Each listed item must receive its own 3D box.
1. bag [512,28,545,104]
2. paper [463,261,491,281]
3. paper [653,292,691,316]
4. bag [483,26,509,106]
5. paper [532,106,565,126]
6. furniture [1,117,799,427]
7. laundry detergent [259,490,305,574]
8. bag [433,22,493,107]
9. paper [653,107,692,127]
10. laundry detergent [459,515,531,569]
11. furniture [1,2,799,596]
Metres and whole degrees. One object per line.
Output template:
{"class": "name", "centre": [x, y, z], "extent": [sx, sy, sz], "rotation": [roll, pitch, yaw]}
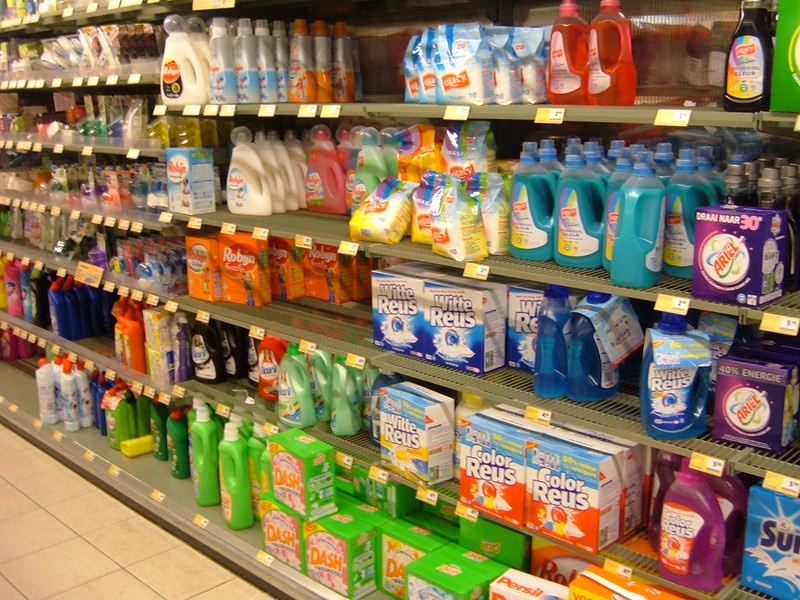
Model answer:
{"class": "bag", "centre": [0.509, -0.925, 2.292], "extent": [0.138, 0.286, 0.079], "rotation": [1, 15, 11]}
{"class": "paper", "centre": [0.310, -0.117, 2.322], "extent": [0.121, 0.062, 0.080], "rotation": [6, 9, 27]}
{"class": "paper", "centre": [0.868, 0.022, 1.848], "extent": [0.097, 0.076, 0.103], "rotation": [4, 17, 23]}
{"class": "bag", "centre": [0.377, -0.935, 2.300], "extent": [0.097, 0.297, 0.094], "rotation": [2, 16, 16]}
{"class": "paper", "centre": [0.525, -0.651, 2.026], "extent": [0.100, 0.051, 0.062], "rotation": [3, 16, 17]}
{"class": "furniture", "centre": [-0.079, -0.143, 2.746], "extent": [2.451, 0.486, 0.353], "rotation": [25, 27, 27]}
{"class": "laundry detergent", "centre": [-0.539, 1.170, 2.962], "extent": [0.344, 0.327, 0.189], "rotation": [-4, 1, 42]}
{"class": "bag", "centre": [0.239, -0.947, 2.330], "extent": [0.262, 0.321, 0.111], "rotation": [10, 20, 37]}
{"class": "paper", "centre": [0.829, -0.557, 1.759], "extent": [0.101, 0.047, 0.063], "rotation": [4, 17, 21]}
{"class": "laundry detergent", "centre": [0.433, 1.035, 2.579], "extent": [0.333, 0.151, 0.173], "rotation": [2, 7, 38]}
{"class": "furniture", "centre": [-0.054, 0.010, 2.676], "extent": [3.665, 0.841, 0.531], "rotation": [16, 27, 35]}
